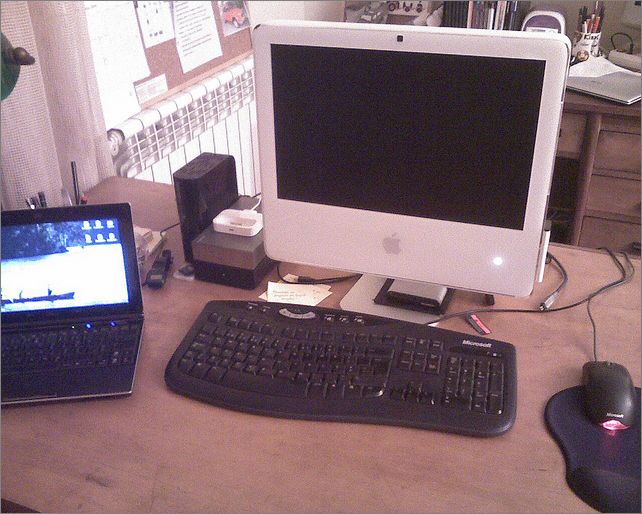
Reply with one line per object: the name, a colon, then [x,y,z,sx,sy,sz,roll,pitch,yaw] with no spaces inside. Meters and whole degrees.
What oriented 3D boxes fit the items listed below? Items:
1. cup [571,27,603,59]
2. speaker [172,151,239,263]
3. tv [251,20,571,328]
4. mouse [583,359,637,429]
cup: [1.191,-0.962,2.462,0.123,0.132,0.113,-6,39,5]
speaker: [-0.258,-0.107,1.244,0.068,0.192,0.185,15,38,18]
tv: [0.160,-0.150,1.022,0.506,0.507,0.179,10,33,16]
mouse: [0.469,0.224,0.888,0.057,0.042,0.117,4,40,14]
